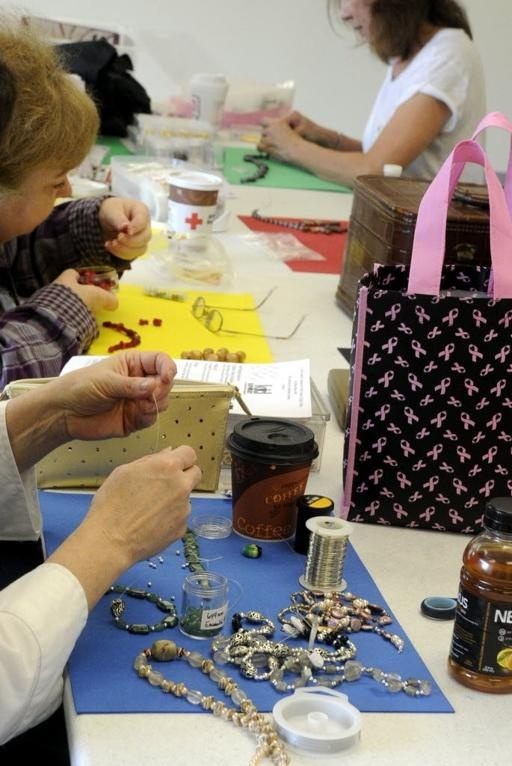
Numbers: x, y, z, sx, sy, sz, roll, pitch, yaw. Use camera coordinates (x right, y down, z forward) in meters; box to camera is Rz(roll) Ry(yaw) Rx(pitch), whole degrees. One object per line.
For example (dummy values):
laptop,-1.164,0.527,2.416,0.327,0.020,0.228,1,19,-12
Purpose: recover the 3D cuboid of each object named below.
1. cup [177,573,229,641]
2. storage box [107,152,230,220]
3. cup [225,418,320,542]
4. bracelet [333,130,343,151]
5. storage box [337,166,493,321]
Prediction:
cup,-0.043,0.184,0.525,0.043,0.046,0.043,3,23,-1
storage box,-0.297,-0.549,1.819,0.244,0.104,0.314,-7,27,-26
cup,0.014,0.102,0.736,0.118,0.120,0.114,6,25,-3
bracelet,0.342,-1.011,2.699,0.058,0.059,0.056,8,45,0
storage box,0.232,-0.241,1.246,0.333,0.269,0.324,0,19,-6
